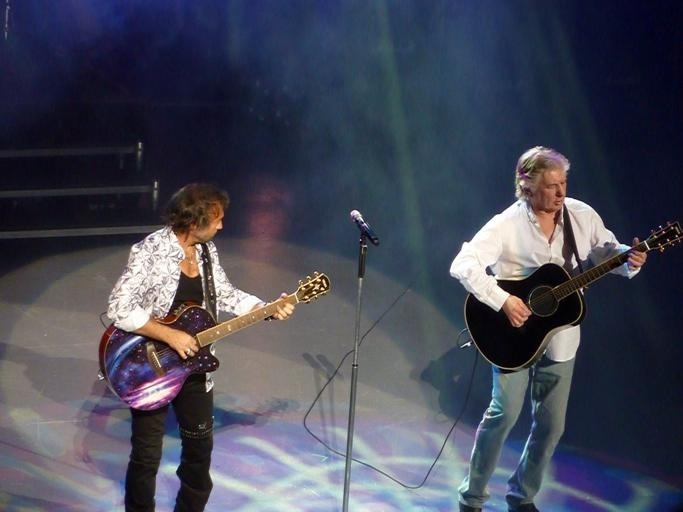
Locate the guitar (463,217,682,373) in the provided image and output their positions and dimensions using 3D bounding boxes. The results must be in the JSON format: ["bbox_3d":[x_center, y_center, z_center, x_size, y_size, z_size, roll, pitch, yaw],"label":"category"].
[{"bbox_3d":[1.442,0.314,4.055,1.641,0.753,0.229,-32,-10,13],"label":"guitar"}]

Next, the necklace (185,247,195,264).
[{"bbox_3d":[-0.953,-0.001,3.625,0.006,0.140,0.052,5,-17,33],"label":"necklace"}]

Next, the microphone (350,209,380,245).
[{"bbox_3d":[0.152,-0.166,3.535,0.092,0.108,0.411,7,33,-25],"label":"microphone"}]

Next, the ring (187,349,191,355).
[{"bbox_3d":[-0.929,0.586,3.530,0.029,0.033,0.011,3,2,-27],"label":"ring"}]

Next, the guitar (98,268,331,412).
[{"bbox_3d":[-0.833,0.391,3.919,1.649,0.699,0.192,-30,16,-24],"label":"guitar"}]
